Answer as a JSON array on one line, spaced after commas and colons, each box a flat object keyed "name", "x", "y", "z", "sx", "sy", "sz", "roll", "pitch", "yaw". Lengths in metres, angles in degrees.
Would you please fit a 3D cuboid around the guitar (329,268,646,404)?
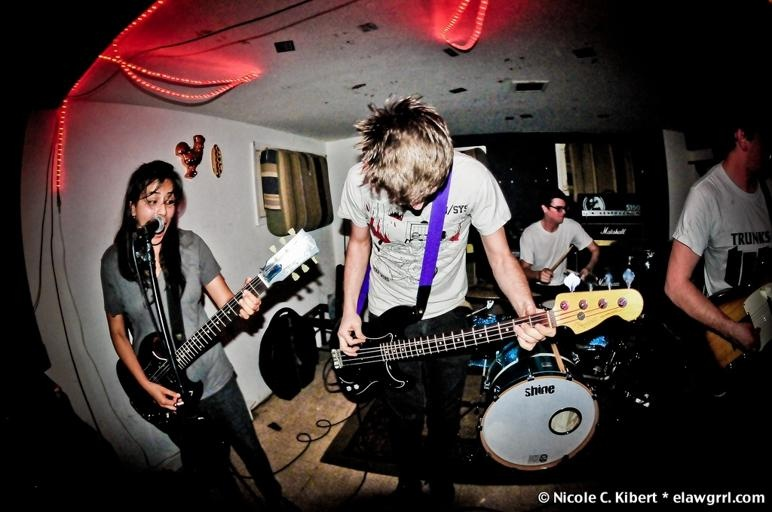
[{"name": "guitar", "x": 0.981, "y": 0.607, "z": 3.447, "sx": 3.120, "sy": 0.876, "sz": 0.411, "roll": -5, "pitch": 15, "yaw": 15}]

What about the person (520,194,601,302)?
[{"name": "person", "x": 1.920, "y": -0.033, "z": 5.374, "sx": 0.944, "sy": 1.175, "sz": 0.952, "roll": 7, "pitch": 31, "yaw": 15}]

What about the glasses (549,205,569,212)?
[{"name": "glasses", "x": 1.831, "y": -0.514, "z": 5.248, "sx": 0.110, "sy": 0.036, "sz": 0.112, "roll": 4, "pitch": 14, "yaw": -14}]

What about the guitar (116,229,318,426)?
[{"name": "guitar", "x": -1.419, "y": 0.616, "z": 4.018, "sx": 1.984, "sy": 0.701, "sz": 0.285, "roll": -42, "pitch": 12, "yaw": -1}]

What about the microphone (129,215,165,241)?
[{"name": "microphone", "x": -1.737, "y": -0.204, "z": 3.592, "sx": 0.229, "sy": 0.168, "sz": 0.446, "roll": -4, "pitch": 6, "yaw": -27}]
